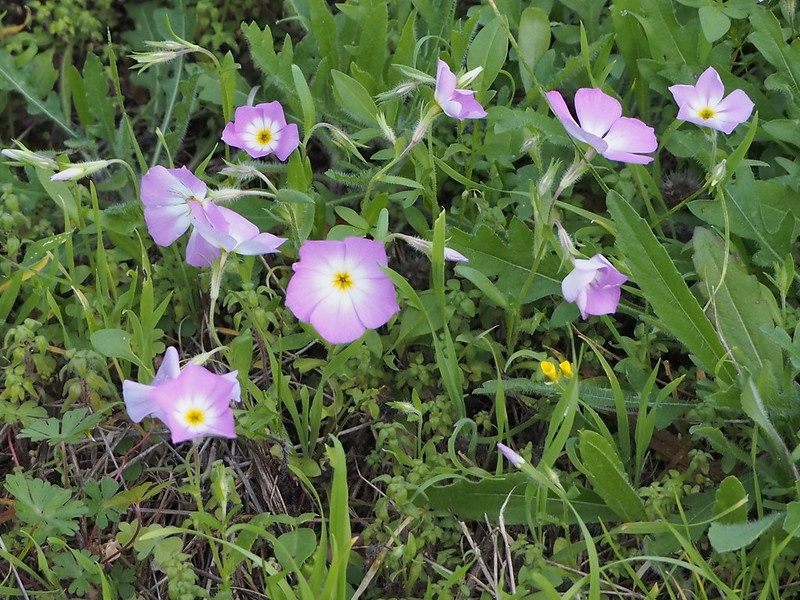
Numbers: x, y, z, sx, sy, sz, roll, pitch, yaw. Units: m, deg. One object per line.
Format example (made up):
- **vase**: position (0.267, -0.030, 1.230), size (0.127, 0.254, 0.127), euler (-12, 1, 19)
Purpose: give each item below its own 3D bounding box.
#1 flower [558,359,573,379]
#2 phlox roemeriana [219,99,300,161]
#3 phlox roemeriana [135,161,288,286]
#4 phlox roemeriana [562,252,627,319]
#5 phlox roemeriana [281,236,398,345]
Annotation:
- **flower**: position (0.558, 0.234, 2.451), size (0.028, 0.050, 0.031), euler (-41, 50, -18)
- **phlox roemeriana**: position (-0.497, -0.610, 2.626), size (0.236, 0.096, 0.241), euler (-38, 70, -14)
- **phlox roemeriana**: position (-0.625, -0.208, 2.354), size (0.375, 0.179, 0.358), euler (-7, 52, 14)
- **phlox roemeriana**: position (0.604, -0.054, 2.352), size (0.185, 0.194, 0.191), euler (-12, 30, -13)
- **phlox roemeriana**: position (-0.175, -0.035, 2.295), size (0.348, 0.094, 0.343), euler (10, 66, -7)
